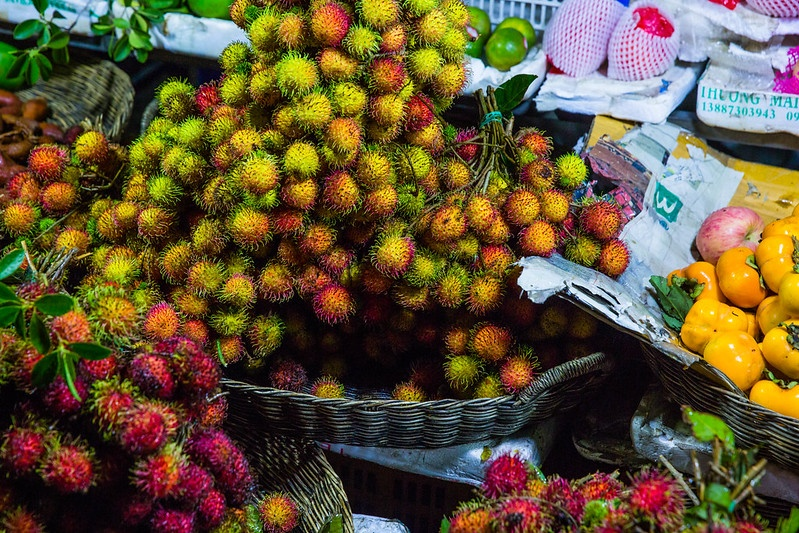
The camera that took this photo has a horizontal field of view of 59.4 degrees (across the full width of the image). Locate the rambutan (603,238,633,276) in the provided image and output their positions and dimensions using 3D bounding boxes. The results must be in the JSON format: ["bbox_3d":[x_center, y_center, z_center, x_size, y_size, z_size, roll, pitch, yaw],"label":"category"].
[{"bbox_3d":[0.578,-0.022,1.903,0.064,0.072,0.060,25,9,-10],"label":"rambutan"}]

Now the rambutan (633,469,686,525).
[{"bbox_3d":[0.469,0.411,1.277,0.080,0.084,0.077,18,72,-7],"label":"rambutan"}]

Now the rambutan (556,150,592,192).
[{"bbox_3d":[0.489,-0.259,1.928,0.086,0.100,0.091,2,4,38],"label":"rambutan"}]

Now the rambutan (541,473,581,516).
[{"bbox_3d":[0.321,0.446,1.378,0.073,0.060,0.089,15,53,4],"label":"rambutan"}]

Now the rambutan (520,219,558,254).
[{"bbox_3d":[0.363,-0.079,1.834,0.076,0.093,0.089,1,6,20],"label":"rambutan"}]

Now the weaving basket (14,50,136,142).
[{"bbox_3d":[-1.178,-0.640,2.636,0.342,0.150,0.371,13,40,11],"label":"weaving basket"}]

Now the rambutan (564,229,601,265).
[{"bbox_3d":[0.498,-0.052,1.898,0.075,0.091,0.082,-7,-3,11],"label":"rambutan"}]

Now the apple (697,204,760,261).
[{"bbox_3d":[0.932,-0.109,2.038,0.150,0.160,0.146,-31,21,-15],"label":"apple"}]

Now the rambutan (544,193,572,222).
[{"bbox_3d":[0.420,-0.155,1.851,0.055,0.073,0.071,-2,3,3],"label":"rambutan"}]

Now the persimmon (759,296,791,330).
[{"bbox_3d":[0.965,0.125,1.812,0.066,0.085,0.066,-9,20,-6],"label":"persimmon"}]
